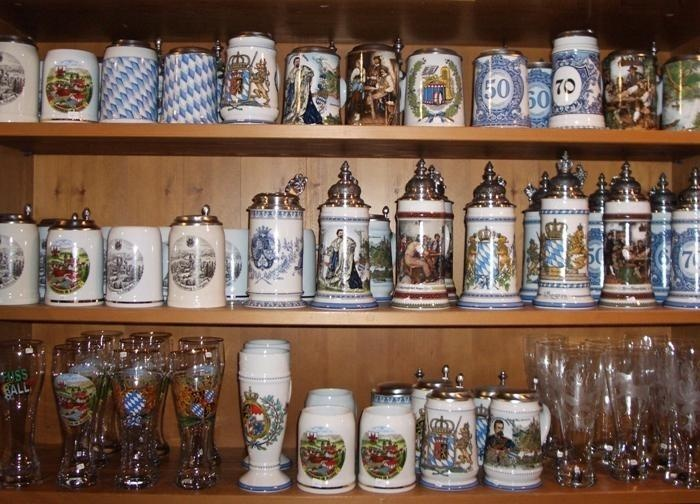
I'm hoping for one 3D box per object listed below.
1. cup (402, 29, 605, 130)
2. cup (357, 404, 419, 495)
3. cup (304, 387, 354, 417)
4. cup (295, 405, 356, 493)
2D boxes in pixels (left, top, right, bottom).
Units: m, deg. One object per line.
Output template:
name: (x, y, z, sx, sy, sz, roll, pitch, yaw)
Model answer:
cup: (0.433, -0.471, 2.045, 0.562, 0.278, 0.123, 0, -2, -5)
cup: (0.101, 0.545, 2.041, 0.192, 0.207, 0.189, 2, 0, 0)
cup: (-0.054, 0.421, 2.074, 0.077, 0.072, 0.079, 1, -2, 0)
cup: (-0.057, 0.534, 2.041, 0.192, 0.211, 0.193, 1, 0, 0)
